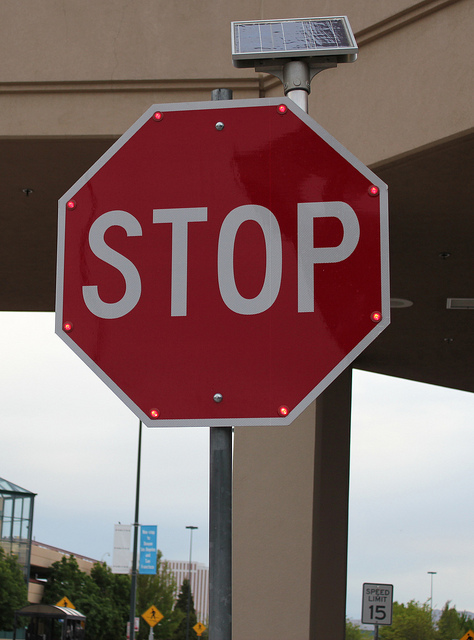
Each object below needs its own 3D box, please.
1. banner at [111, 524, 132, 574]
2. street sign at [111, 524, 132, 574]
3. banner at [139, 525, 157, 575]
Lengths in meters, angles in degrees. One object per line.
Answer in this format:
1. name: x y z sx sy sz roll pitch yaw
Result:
1. banner: -2.665 5.303 33.499 0.458 1.170 0.078 -3 -11 29
2. street sign: -2.689 5.294 33.438 0.473 1.174 0.077 7 -7 -33
3. banner: -2.306 5.997 37.700 0.534 1.308 0.031 0 -4 23
